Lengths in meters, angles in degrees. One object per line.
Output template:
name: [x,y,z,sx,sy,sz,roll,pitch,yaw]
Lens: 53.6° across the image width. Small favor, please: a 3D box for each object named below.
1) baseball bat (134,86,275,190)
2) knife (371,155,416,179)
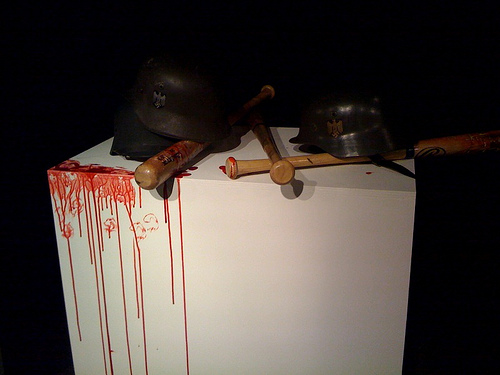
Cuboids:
baseball bat: [-0.066,-0.280,2.100,0.172,0.136,1.179,-50,-6,39]
knife: [0.530,-0.076,1.856,0.025,0.034,0.204,11,13,-27]
